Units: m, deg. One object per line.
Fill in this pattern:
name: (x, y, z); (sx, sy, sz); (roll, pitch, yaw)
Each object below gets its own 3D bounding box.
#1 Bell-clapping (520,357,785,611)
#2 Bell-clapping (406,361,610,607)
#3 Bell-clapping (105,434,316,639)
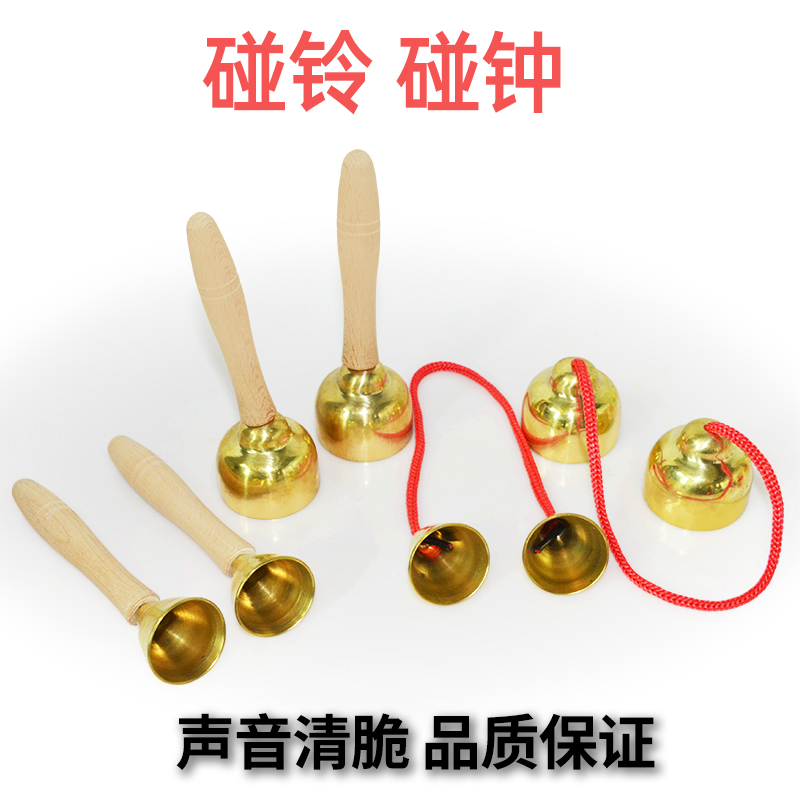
Bell-clapping: (0.618, 0.271, 2.826); (0.519, 0.968, 0.496); (7, 66, 10)
Bell-clapping: (0.234, 0.170, 2.450); (0.497, 0.490, 0.824); (-8, 51, -1)
Bell-clapping: (-0.486, 0.308, 2.404); (0.258, 0.277, 0.753); (-32, 49, -28)
